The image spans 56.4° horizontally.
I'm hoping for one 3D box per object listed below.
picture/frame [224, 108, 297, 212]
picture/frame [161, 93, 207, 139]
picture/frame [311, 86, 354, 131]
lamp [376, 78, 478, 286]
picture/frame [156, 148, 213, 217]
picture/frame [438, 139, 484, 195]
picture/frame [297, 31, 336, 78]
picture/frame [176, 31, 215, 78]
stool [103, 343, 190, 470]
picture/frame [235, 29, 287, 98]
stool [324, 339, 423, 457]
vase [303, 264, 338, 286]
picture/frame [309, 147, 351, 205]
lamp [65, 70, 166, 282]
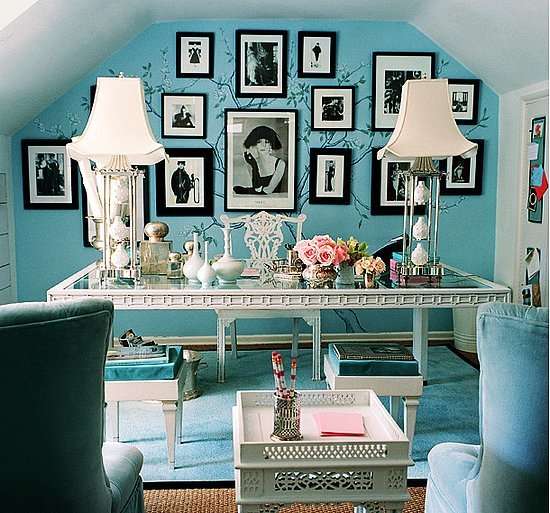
[{"bbox_3d":[-0.134,-0.819,4.164,0.786,1.198,0.041,0,2,-4],"label":"picture/frame"},{"bbox_3d":[-0.745,-1.141,4.109,0.318,0.351,0.033,1,1,-5],"label":"picture/frame"},{"bbox_3d":[0.453,-1.212,4.154,0.309,0.346,0.022,1,3,-5],"label":"picture/frame"},{"bbox_3d":[0.784,-0.395,2.748,0.521,1.031,0.516,4,13,24],"label":"lamp"},{"bbox_3d":[-0.739,-0.614,4.098,0.480,0.608,0.047,1,7,-2],"label":"picture/frame"},{"bbox_3d":[1.530,-0.712,4.230,0.293,0.022,0.431,4,-39,22],"label":"picture/frame"},{"bbox_3d":[0.323,-1.632,4.112,0.307,0.388,0.191,0,7,-1],"label":"picture/frame"},{"bbox_3d":[-0.642,-1.600,4.085,0.289,0.359,0.022,-7,48,-16],"label":"picture/frame"},{"bbox_3d":[-0.601,0.677,2.298,0.418,0.351,0.366,1,-5,-10],"label":"stool"},{"bbox_3d":[-0.125,-1.561,4.095,0.470,0.639,0.044,0,3,-4],"label":"picture/frame"},{"bbox_3d":[0.467,0.647,2.473,0.317,0.382,0.531,3,1,-2],"label":"stool"},{"bbox_3d":[0.237,0.094,2.668,0.114,0.108,0.112,-1,11,-8],"label":"vase"},{"bbox_3d":[0.453,-0.663,4.221,0.311,0.461,0.028,2,-15,9],"label":"picture/frame"},{"bbox_3d":[-0.834,-0.429,2.718,0.582,1.145,0.617,1,4,6],"label":"lamp"}]
